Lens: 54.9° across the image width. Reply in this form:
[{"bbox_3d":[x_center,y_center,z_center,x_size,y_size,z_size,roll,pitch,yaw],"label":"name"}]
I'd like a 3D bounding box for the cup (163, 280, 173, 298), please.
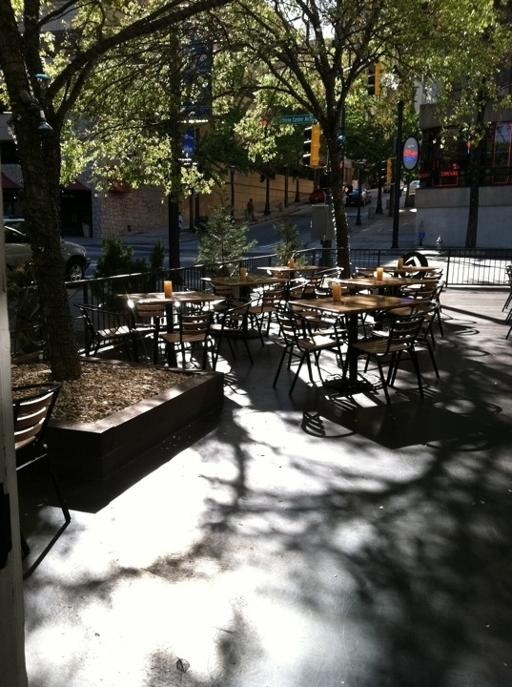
[{"bbox_3d":[-1.561,-0.958,8.647,0.127,0.286,0.353,-3,9,-15],"label":"cup"}]

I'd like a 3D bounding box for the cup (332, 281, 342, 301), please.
[{"bbox_3d":[1.289,-0.849,7.945,0.118,0.274,0.309,0,9,4],"label":"cup"}]

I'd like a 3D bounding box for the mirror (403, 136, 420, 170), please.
[{"bbox_3d":[9.839,-12.123,31.308,0.832,2.097,1.465,2,9,12],"label":"mirror"}]

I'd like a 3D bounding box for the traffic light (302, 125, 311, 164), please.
[{"bbox_3d":[1.739,-6.830,16.824,0.264,1.290,0.841,1,9,6],"label":"traffic light"}]
